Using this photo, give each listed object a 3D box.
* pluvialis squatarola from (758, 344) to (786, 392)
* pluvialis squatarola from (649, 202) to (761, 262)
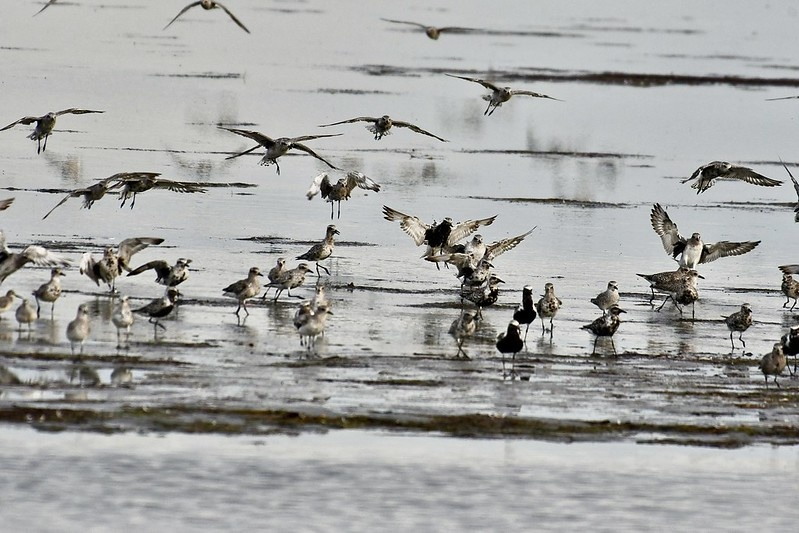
[{"bbox_3d":[9.512,2.431,36.426,0.594,1.073,0.960,7,12,14],"label":"pluvialis squatarola"},{"bbox_3d":[9.334,-0.903,45.296,3.012,2.205,1.556,0,12,-18],"label":"pluvialis squatarola"}]
